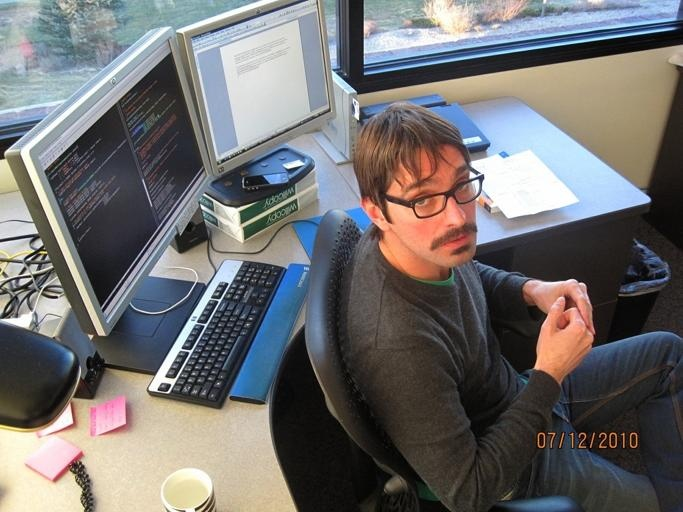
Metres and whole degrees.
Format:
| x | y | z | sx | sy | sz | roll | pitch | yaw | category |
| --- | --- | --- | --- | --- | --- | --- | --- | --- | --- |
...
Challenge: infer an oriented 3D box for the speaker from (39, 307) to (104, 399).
| x | y | z | sx | sy | sz | roll | pitch | yaw | category |
| --- | --- | --- | --- | --- | --- | --- | --- | --- | --- |
| -0.612 | 0.223 | 1.207 | 0.112 | 0.215 | 0.126 | -2 | 50 | -2 | speaker |

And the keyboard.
| x | y | z | sx | sy | sz | roll | pitch | yaw | category |
| --- | --- | --- | --- | --- | --- | --- | --- | --- | --- |
| -0.342 | 0.196 | 1.493 | 0.224 | 0.494 | 0.065 | 17 | 26 | -35 | keyboard |

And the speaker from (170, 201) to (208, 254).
| x | y | z | sx | sy | sz | roll | pitch | yaw | category |
| --- | --- | --- | --- | --- | --- | --- | --- | --- | --- |
| -0.487 | -0.087 | 1.675 | 0.080 | 0.149 | 0.081 | -33 | 75 | -20 | speaker |

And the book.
| x | y | z | sx | sy | sz | roll | pitch | yaw | category |
| --- | --- | --- | --- | --- | --- | --- | --- | --- | --- |
| 0.392 | -0.491 | 2.231 | 0.501 | 0.149 | 0.561 | -13 | 50 | -13 | book |

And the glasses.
| x | y | z | sx | sy | sz | roll | pitch | yaw | category |
| --- | --- | --- | --- | --- | --- | --- | --- | --- | --- |
| 0.256 | -0.143 | 1.309 | 0.178 | 0.049 | 0.180 | -31 | 36 | -19 | glasses |

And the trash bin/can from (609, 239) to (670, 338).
| x | y | z | sx | sy | sz | roll | pitch | yaw | category |
| --- | --- | --- | --- | --- | --- | --- | --- | --- | --- |
| 1.263 | 0.154 | 2.253 | 0.245 | 0.306 | 0.245 | -22 | 42 | -10 | trash bin/can |
